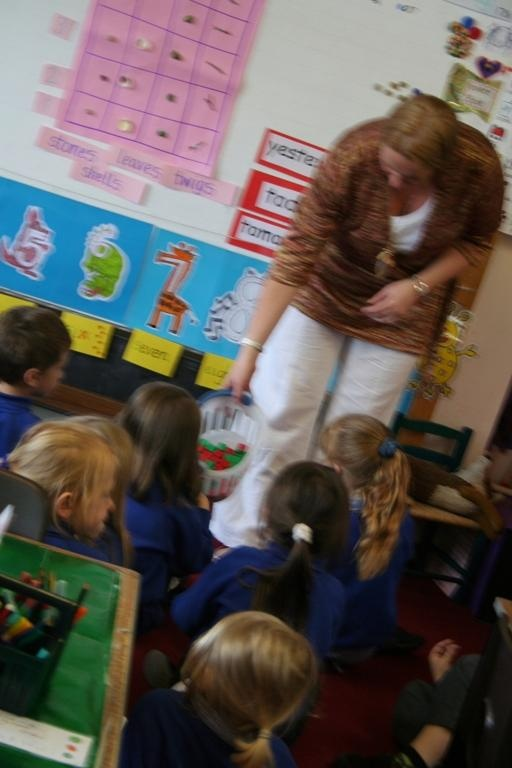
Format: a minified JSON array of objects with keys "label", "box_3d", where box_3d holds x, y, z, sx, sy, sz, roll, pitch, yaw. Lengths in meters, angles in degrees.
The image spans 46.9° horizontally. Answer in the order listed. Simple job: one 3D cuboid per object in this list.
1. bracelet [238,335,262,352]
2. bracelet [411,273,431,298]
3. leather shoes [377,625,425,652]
[{"label":"bracelet","box_3d":[-0.017,-0.106,1.559,0.041,0.017,0.045,32,-9,-39]},{"label":"bracelet","box_3d":[0.425,-0.256,1.549,0.053,0.041,0.024,50,58,-8]},{"label":"leather shoes","box_3d":[0.453,0.802,1.844,0.082,0.038,0.125,-2,-3,21]}]
